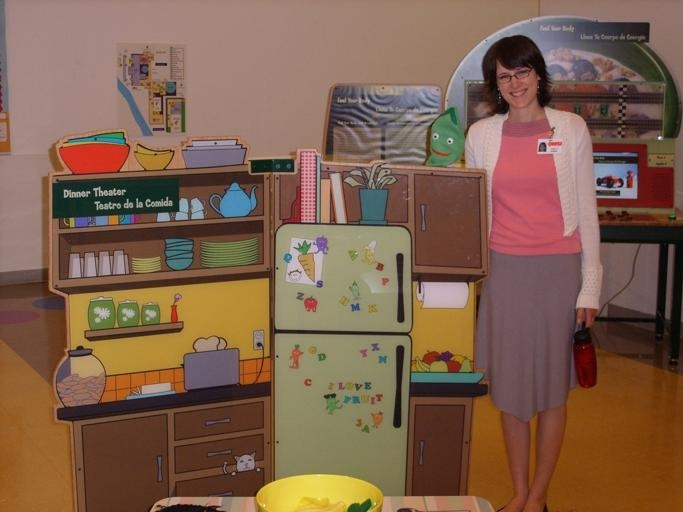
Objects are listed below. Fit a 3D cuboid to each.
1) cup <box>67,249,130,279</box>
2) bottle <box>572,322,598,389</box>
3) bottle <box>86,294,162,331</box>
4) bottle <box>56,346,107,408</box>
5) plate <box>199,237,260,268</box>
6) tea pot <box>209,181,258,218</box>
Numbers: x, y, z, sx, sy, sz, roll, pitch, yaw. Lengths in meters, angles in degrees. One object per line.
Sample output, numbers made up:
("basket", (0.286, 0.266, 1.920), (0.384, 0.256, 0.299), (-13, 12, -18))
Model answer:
("cup", (-1.058, 0.032, 3.076), (0.259, 0.103, 0.045), (-3, 14, -12))
("bottle", (1.106, 0.452, 3.207), (0.106, 0.305, 0.177), (5, 15, 19))
("bottle", (-0.952, 0.242, 3.090), (0.305, 0.134, 0.034), (-2, 14, -7))
("bottle", (-1.131, 0.512, 3.137), (0.233, 0.315, 0.233), (0, -2, 0))
("plate", (-0.497, -0.024, 3.163), (0.177, 0.088, 0.134), (-2, 4, -26))
("tea pot", (-0.484, -0.242, 3.188), (0.208, 0.169, 0.145), (-8, -10, -1))
